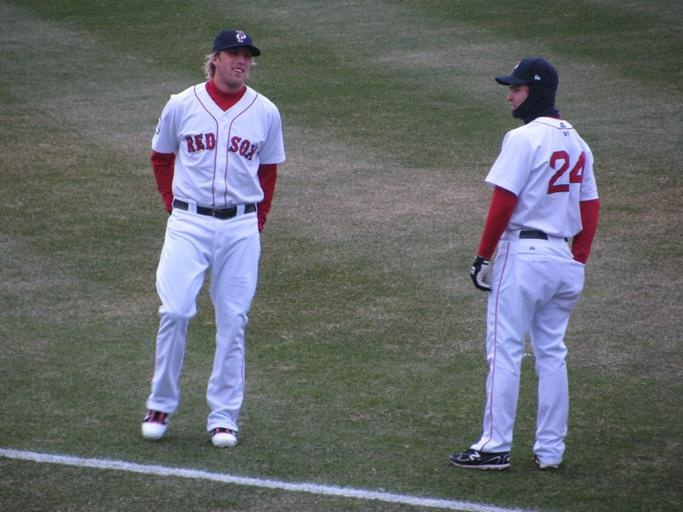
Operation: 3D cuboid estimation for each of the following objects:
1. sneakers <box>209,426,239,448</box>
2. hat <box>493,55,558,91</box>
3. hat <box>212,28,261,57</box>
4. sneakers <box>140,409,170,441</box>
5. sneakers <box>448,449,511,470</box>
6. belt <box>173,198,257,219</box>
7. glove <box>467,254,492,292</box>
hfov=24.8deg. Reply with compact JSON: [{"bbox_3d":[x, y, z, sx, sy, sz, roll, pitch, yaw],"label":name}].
[{"bbox_3d":[-1.090,1.652,14.220,0.255,0.166,0.144,5,21,-9],"label":"sneakers"},{"bbox_3d":[1.700,-1.677,14.265,0.643,0.213,0.320,4,7,-2],"label":"hat"},{"bbox_3d":[-1.043,-1.968,14.308,0.401,0.151,0.284,3,6,36],"label":"hat"},{"bbox_3d":[-1.738,1.556,14.238,0.193,0.127,0.349,7,16,-14],"label":"sneakers"},{"bbox_3d":[1.271,1.856,14.232,0.598,0.205,0.187,2,1,4],"label":"sneakers"},{"bbox_3d":[-1.184,-0.422,14.294,0.752,0.139,0.165,4,20,-7],"label":"belt"},{"bbox_3d":[1.282,0.159,14.217,0.194,0.287,0.256,6,19,-5],"label":"glove"}]
